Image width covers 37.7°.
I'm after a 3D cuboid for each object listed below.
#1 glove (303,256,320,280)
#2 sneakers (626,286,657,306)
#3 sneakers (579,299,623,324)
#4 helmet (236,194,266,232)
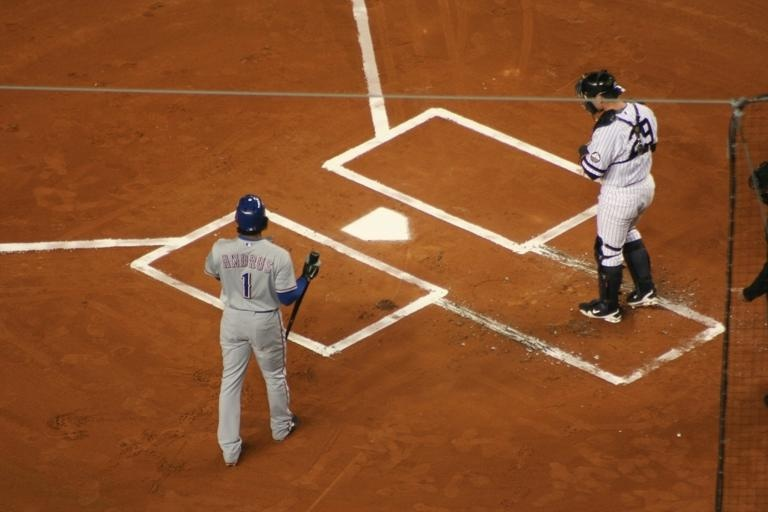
[{"bbox_3d":[-0.855,0.132,13.476,0.195,0.095,0.309,25,58,3],"label":"glove"},{"bbox_3d":[3.400,0.547,14.751,0.405,0.180,0.181,-4,64,26],"label":"sneakers"},{"bbox_3d":[2.839,0.716,14.670,0.663,0.251,0.225,12,42,14],"label":"sneakers"},{"bbox_3d":[-1.550,-0.517,13.235,0.378,0.356,0.429,-1,35,-3],"label":"helmet"}]
